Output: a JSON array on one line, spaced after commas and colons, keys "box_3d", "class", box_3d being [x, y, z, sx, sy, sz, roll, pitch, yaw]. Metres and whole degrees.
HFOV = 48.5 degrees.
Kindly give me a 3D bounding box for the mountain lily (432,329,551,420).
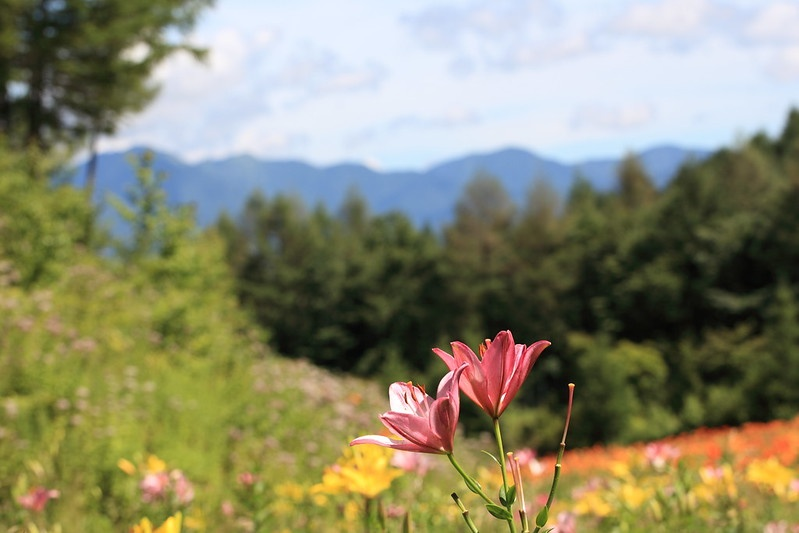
[{"box_3d": [0.422, 0.550, 4.233, 0.581, 0.427, 0.625, -9, -6, 17], "class": "mountain lily"}]
